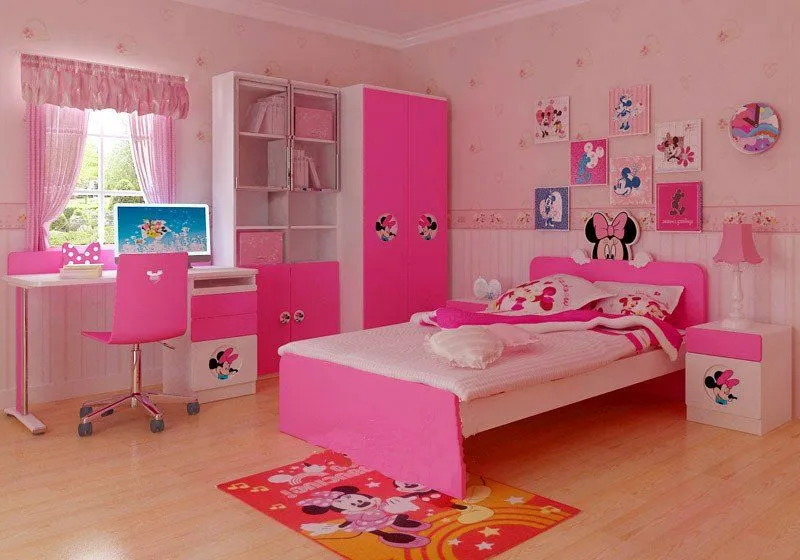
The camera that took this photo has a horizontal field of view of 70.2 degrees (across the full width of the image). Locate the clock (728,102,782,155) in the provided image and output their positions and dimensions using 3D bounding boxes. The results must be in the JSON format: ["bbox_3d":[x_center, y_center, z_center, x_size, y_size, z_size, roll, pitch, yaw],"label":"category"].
[{"bbox_3d":[2.681,-1.133,4.243,0.061,0.446,0.389,-1,8,-40],"label":"clock"}]

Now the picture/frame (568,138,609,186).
[{"bbox_3d":[1.695,-1.047,5.044,0.462,0.536,0.056,1,1,45],"label":"picture/frame"}]

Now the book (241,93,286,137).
[{"bbox_3d":[-1.246,-1.479,5.146,0.419,0.402,0.251,4,0,45],"label":"book"}]

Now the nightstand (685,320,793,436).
[{"bbox_3d":[2.441,0.630,4.284,0.737,0.990,0.758,-1,1,-41],"label":"nightstand"}]

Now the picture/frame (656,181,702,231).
[{"bbox_3d":[2.274,-0.599,4.581,0.051,0.474,0.410,-1,2,-42],"label":"picture/frame"}]

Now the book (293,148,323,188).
[{"bbox_3d":[-0.926,-0.990,5.440,0.312,0.413,0.425,-1,1,-22],"label":"book"}]

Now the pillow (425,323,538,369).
[{"bbox_3d":[0.501,0.386,3.432,0.393,0.095,0.328,-8,12,-37],"label":"pillow"}]

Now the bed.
[{"bbox_3d":[0.736,0.579,3.942,1.698,1.047,2.184,5,9,44],"label":"bed"}]

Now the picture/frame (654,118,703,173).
[{"bbox_3d":[2.271,-1.088,4.586,0.052,0.515,0.466,-3,5,-44],"label":"picture/frame"}]

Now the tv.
[{"bbox_3d":[-1.922,-0.355,4.472,0.550,0.381,0.146,-2,-2,-38],"label":"tv"}]

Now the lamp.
[{"bbox_3d":[2.509,-0.052,4.206,0.303,0.732,0.480,5,10,33],"label":"lamp"}]

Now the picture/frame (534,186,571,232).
[{"bbox_3d":[1.423,-0.661,5.249,0.049,0.487,0.435,0,1,-43],"label":"picture/frame"}]

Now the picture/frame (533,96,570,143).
[{"bbox_3d":[1.413,-1.477,5.236,0.057,0.529,0.473,-1,2,-43],"label":"picture/frame"}]
